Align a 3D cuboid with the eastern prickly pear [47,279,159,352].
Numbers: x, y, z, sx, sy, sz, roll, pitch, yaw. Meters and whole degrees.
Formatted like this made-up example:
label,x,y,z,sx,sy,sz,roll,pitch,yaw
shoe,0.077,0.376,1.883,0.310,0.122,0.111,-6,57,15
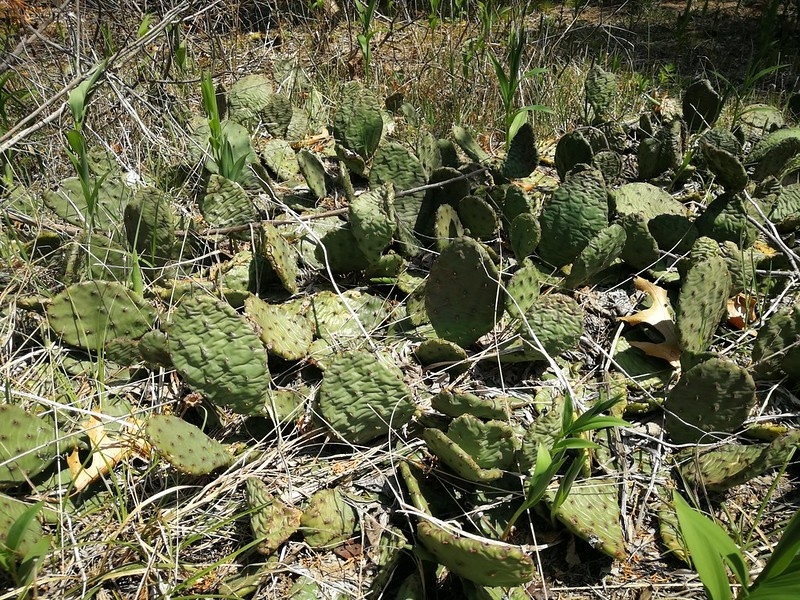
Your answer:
label,x,y,z,sx,sy,sz,roll,pitch,yaw
eastern prickly pear,-0.944,0.059,2.278,0.320,0.216,0.118,-12,44,-13
